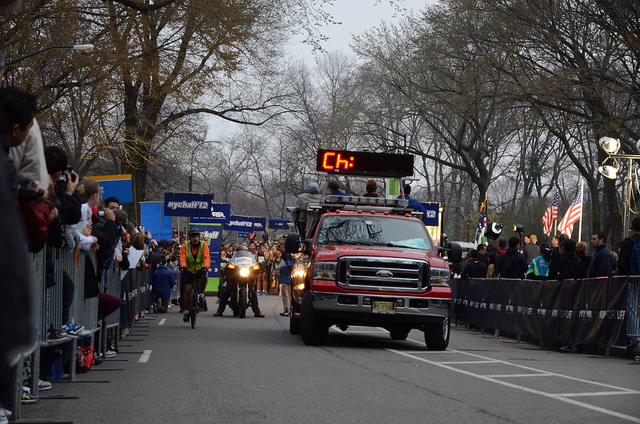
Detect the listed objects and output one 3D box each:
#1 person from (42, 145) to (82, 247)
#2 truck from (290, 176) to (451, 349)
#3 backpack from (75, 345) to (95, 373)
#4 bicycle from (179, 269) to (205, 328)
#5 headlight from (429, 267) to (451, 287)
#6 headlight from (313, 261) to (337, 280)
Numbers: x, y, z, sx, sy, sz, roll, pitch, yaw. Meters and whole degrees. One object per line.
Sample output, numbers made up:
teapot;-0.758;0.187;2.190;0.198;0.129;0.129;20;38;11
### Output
person;-3.633;-0.214;11.152;0.437;1.383;1.730;2;-2;-13
truck;1.018;1.440;18.823;2.530;2.798;4.636;1;-12;-4
backpack;-3.980;2.463;13.409;0.278;0.394;0.149;8;-20;-40
bicycle;-3.241;2.230;20.412;0.523;1.398;0.895;2;-2;-13
headlight;2.524;1.354;16.790;0.401;0.285;0.417;0;-3;12
headlight;0.096;1.212;16.612;0.384;0.266;0.390;1;-7;8
